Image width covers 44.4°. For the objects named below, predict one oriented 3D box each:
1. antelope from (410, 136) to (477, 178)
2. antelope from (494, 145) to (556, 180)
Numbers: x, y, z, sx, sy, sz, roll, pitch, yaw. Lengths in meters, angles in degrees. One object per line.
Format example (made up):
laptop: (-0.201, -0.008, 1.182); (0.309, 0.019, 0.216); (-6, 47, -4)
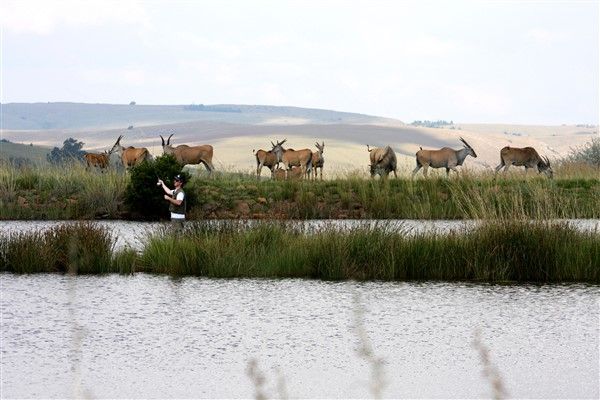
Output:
antelope: (6.363, -1.881, 33.055); (2.645, 1.946, 7.047); (2, 12, 10)
antelope: (11.214, -2.028, 36.698); (2.836, 1.384, 1.358); (-4, 12, -19)
